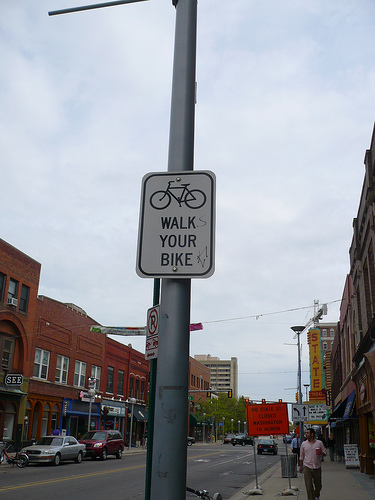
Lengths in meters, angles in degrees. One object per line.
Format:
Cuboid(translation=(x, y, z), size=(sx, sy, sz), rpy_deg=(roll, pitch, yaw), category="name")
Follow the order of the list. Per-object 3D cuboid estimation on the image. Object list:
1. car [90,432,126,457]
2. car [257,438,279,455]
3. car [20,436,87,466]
Cuboid(translation=(-5.425, 12.902, 30.581), size=(1.110, 1.506, 3.335), rpy_deg=(-4, -21, 13), category="car")
Cuboid(translation=(7.568, 18.704, 43.674), size=(1.536, 1.385, 3.134), rpy_deg=(-5, -21, 15), category="car")
Cuboid(translation=(-7.100, 10.717, 24.605), size=(1.251, 1.427, 4.208), rpy_deg=(-8, -22, 22), category="car")
